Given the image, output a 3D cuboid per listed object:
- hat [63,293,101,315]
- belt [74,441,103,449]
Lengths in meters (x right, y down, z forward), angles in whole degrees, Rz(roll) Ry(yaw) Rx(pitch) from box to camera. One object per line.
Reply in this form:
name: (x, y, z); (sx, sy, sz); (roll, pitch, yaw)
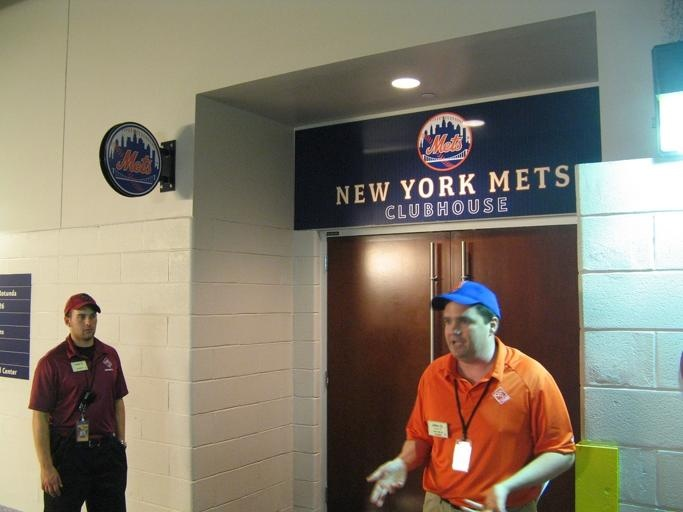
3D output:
hat: (-1.795, 0.328, 3.893); (0.204, 0.113, 0.151); (-31, -25, 29)
belt: (-1.619, 1.209, 3.645); (0.145, 0.058, 0.010); (-2, -1, -30)
